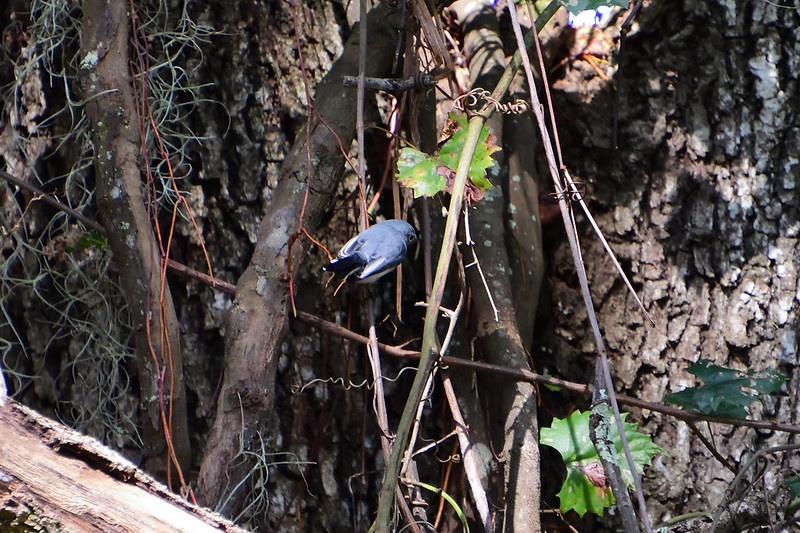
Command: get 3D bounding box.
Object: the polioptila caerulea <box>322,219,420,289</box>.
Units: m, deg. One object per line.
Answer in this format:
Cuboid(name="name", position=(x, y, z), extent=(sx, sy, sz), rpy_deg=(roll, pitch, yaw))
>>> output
Cuboid(name="polioptila caerulea", position=(-0.073, -0.047, 4.363), extent=(0.351, 0.170, 0.175), rpy_deg=(-18, 35, -35))
